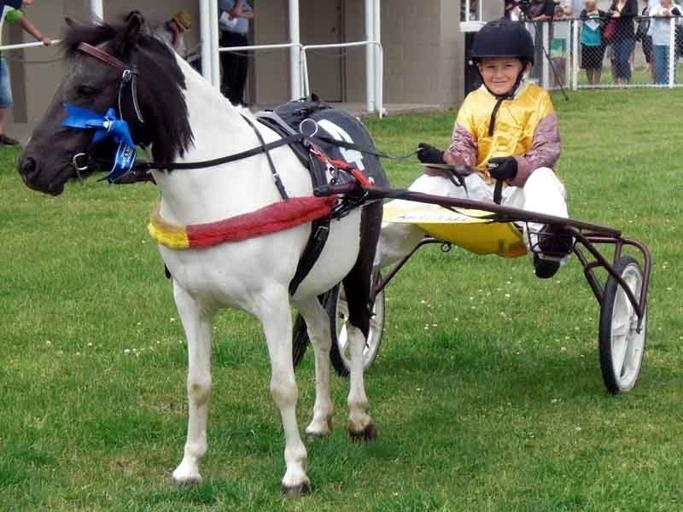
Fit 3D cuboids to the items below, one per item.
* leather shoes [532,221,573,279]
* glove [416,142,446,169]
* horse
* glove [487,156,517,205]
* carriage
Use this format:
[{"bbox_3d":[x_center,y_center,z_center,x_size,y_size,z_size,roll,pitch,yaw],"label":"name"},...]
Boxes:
[{"bbox_3d":[1.482,-0.021,8.713,0.194,0.404,0.197,10,27,2],"label":"leather shoes"},{"bbox_3d":[0.635,-0.715,8.762,0.245,0.139,0.112,14,-2,-29],"label":"glove"},{"bbox_3d":[-0.718,-0.015,7.760,2.375,3.007,0.782,-6,8,-32],"label":"horse"},{"bbox_3d":[1.145,-0.522,8.686,0.105,0.306,0.220,0,9,-24],"label":"glove"},{"bbox_3d":[-0.021,0.007,8.806,2.642,3.010,5.158,4,8,39],"label":"carriage"}]
